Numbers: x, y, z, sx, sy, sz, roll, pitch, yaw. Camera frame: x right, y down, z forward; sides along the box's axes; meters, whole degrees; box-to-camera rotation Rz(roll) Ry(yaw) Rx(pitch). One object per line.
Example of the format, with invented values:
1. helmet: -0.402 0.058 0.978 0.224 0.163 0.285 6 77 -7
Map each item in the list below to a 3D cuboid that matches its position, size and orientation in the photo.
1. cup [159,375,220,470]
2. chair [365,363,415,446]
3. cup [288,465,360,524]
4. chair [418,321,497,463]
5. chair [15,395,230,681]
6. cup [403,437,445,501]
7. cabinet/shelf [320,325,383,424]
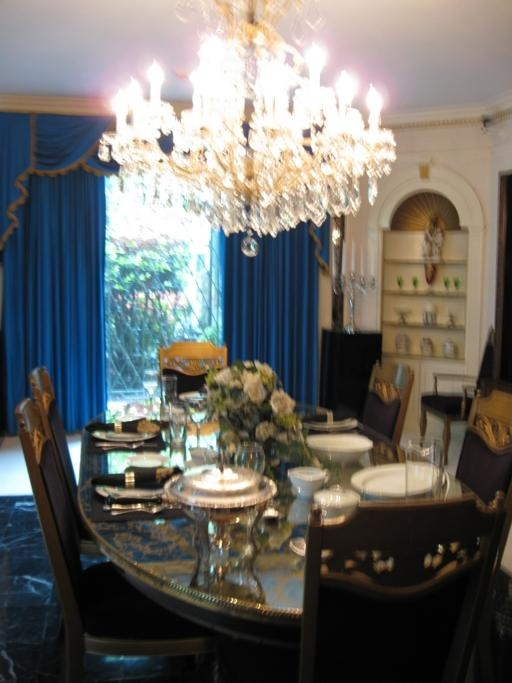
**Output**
1. cup: -0.239 0.294 2.062 0.125 0.519 0.156 7 15 38
2. chair: 0.600 0.259 2.635 0.181 0.299 0.476 0 4 1
3. cup: 0.161 0.363 1.467 0.094 0.119 0.221 3 -8 -9
4. chair: 1.385 0.424 4.353 0.345 0.879 0.352 14 15 33
5. chair: -0.362 0.527 1.861 0.531 1.199 0.592 -3 8 -14
6. cup: 0.429 0.314 1.458 0.071 0.174 0.082 -1 8 27
7. cabinet/shelf: 0.851 0.265 5.522 0.486 1.447 0.584 2 0 2
